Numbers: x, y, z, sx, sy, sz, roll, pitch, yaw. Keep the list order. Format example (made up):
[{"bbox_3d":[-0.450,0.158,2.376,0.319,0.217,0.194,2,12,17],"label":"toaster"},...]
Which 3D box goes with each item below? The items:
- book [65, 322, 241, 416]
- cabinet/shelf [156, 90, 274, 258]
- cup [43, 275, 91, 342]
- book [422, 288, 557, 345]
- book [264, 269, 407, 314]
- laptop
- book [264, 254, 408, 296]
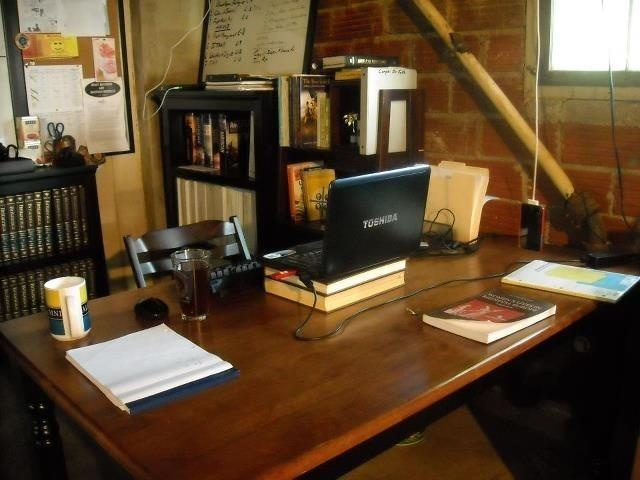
[{"bbox_3d":[-0.451,0.338,1.386,0.223,0.027,0.239,-13,25,-38],"label":"book"},{"bbox_3d":[-0.590,-0.414,3.032,0.351,1.184,0.781,-15,26,-40],"label":"cabinet/shelf"},{"bbox_3d":[-0.729,0.194,1.567,0.122,0.178,0.194,-5,21,-20],"label":"cup"},{"bbox_3d":[0.546,0.231,1.622,0.273,0.028,0.189,-13,18,-37],"label":"book"},{"bbox_3d":[0.001,0.181,1.752,0.201,0.043,0.218,16,24,41],"label":"book"},{"bbox_3d":[0.080,-0.134,1.836,0.603,0.405,0.405,-20,31,-39],"label":"laptop"},{"bbox_3d":[0.123,0.124,1.767,0.204,0.031,0.214,-16,19,-29],"label":"book"}]
